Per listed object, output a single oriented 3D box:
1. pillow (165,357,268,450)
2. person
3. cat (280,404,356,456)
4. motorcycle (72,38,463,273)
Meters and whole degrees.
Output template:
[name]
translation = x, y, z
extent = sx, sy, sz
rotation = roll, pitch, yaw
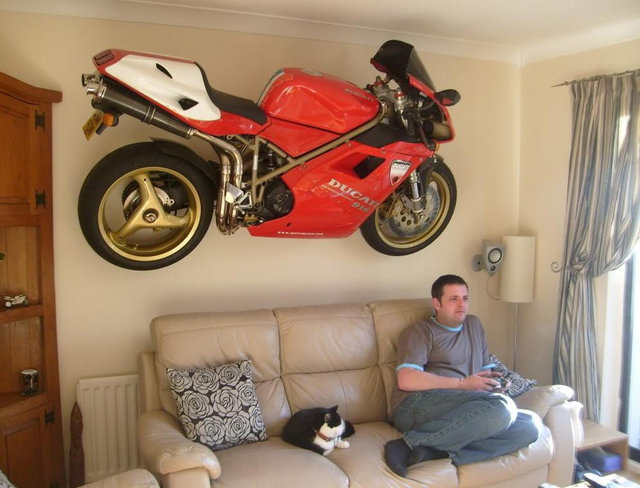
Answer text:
[pillow]
translation = -0.719, 0.898, 2.864
extent = 0.495, 0.161, 0.522
rotation = -36, -50, 18
[person]
translation = 0.899, 0.778, 3.124
extent = 0.915, 1.177, 0.919
rotation = -4, -15, 34
[cat]
translation = -0.013, 1.031, 2.906
extent = 0.371, 0.250, 0.233
rotation = 11, 15, -4
[motorcycle]
translation = -0.291, -0.845, 3.471
extent = 2.824, 1.620, 1.070
rotation = -5, 36, -13
